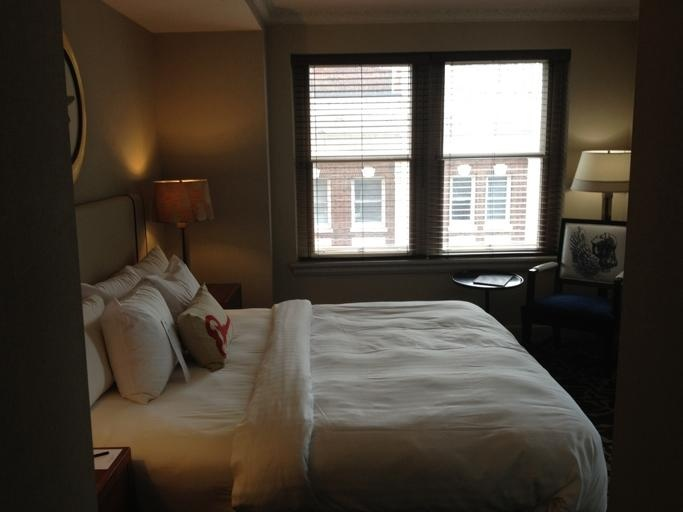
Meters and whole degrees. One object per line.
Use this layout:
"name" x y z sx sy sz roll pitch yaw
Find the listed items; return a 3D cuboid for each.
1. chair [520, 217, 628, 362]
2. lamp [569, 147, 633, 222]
"chair" 1.536 0.227 3.789 0.637 0.984 0.719 3 5 6
"lamp" 1.776 -0.438 3.913 0.434 0.566 0.389 -12 15 -43
